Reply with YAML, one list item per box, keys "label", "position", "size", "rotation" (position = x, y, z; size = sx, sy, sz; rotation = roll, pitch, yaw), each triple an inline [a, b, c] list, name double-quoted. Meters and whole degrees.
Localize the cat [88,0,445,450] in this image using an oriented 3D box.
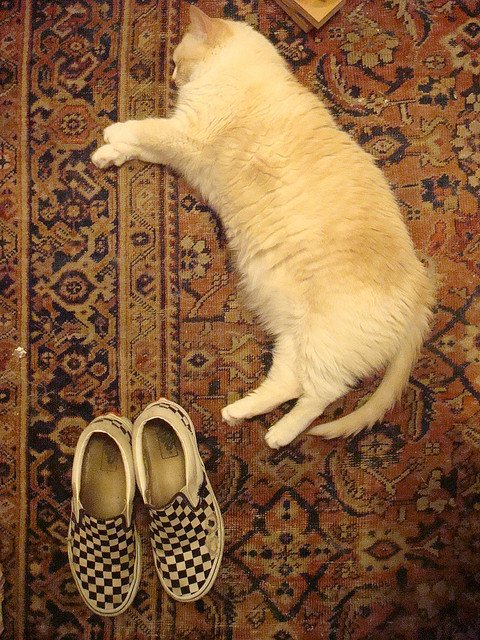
- label: "cat"
  position: [0.174, -0.280, 2.748]
  size: [0.943, 0.324, 1.316]
  rotation: [-29, 90, 1]
